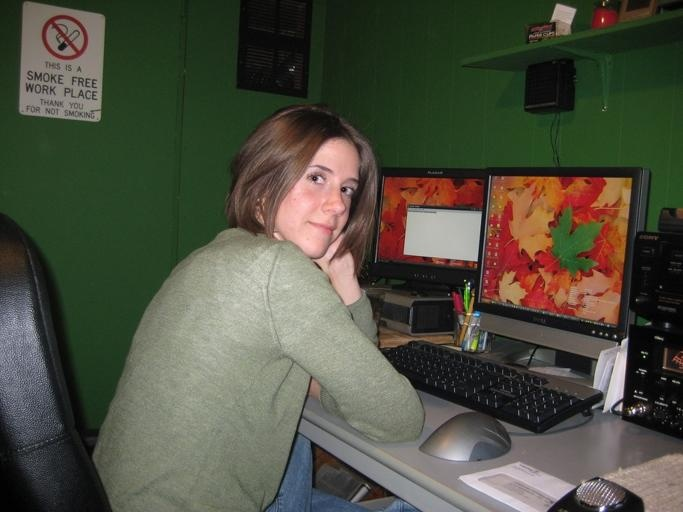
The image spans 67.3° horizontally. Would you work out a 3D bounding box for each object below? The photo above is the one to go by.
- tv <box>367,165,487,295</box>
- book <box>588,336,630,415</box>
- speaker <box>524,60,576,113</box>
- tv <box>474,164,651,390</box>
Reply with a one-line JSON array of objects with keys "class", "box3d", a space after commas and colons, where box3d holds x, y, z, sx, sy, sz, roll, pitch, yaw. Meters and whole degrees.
[{"class": "tv", "box3d": [0.330, -0.102, 1.923, 0.476, 0.425, 0.127, 4, -1, 39]}, {"class": "book", "box3d": [0.649, 0.294, 1.241, 0.067, 0.181, 0.178, 6, 1, 20]}, {"class": "speaker", "box3d": [0.699, -0.568, 1.712, 0.091, 0.167, 0.169, 4, -4, -23]}, {"class": "tv", "box3d": [0.612, 0.058, 1.396, 0.212, 0.665, 0.573, 1, 2, -35]}]
